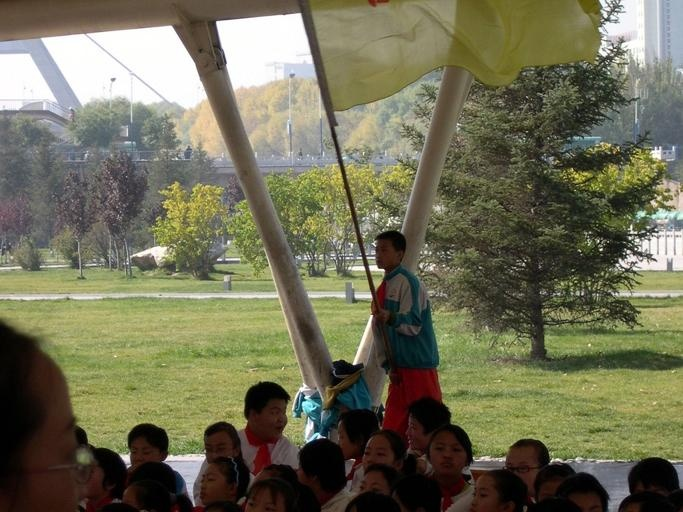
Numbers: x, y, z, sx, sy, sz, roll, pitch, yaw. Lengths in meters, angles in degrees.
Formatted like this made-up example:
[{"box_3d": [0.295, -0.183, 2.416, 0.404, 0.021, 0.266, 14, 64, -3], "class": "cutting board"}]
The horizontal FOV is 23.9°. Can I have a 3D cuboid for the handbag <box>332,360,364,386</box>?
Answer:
[{"box_3d": [0.174, 3.193, 44.266, 0.746, 0.279, 0.749, -2, 7, 31], "class": "handbag"}]
